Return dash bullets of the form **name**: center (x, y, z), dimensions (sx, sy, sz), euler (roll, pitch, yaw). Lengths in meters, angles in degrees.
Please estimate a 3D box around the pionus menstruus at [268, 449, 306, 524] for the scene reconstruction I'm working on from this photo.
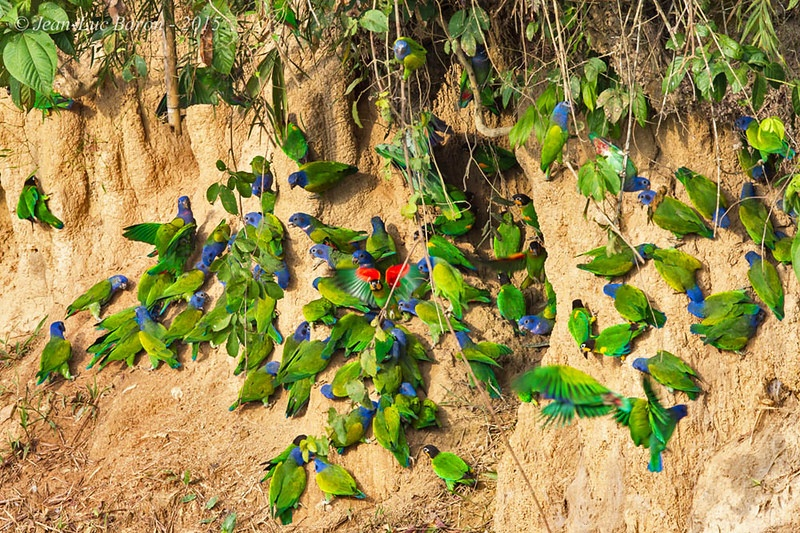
- **pionus menstruus**: center (-0.686, 1.340, 7.715), dimensions (0.180, 0.258, 0.456), euler (24, 56, -9)

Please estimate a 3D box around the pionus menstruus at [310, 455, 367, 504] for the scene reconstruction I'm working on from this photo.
- **pionus menstruus**: center (-0.377, 1.309, 7.689), dimensions (0.324, 0.243, 0.209), euler (26, 64, 9)

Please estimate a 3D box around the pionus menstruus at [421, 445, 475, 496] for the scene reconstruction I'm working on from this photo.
- **pionus menstruus**: center (0.320, 1.240, 7.748), dimensions (0.374, 0.217, 0.204), euler (39, 71, 23)
